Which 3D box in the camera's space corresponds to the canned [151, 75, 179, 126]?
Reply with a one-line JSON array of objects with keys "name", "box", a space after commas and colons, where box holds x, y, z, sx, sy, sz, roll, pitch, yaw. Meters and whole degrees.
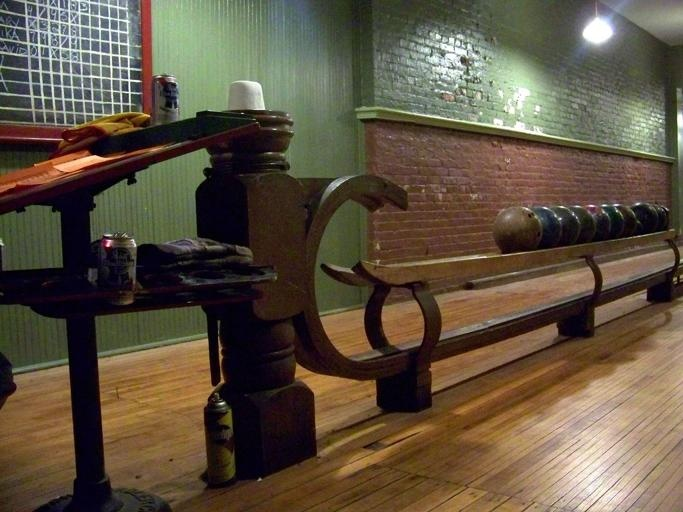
[{"name": "canned", "box": [-0.608, -0.538, 1.692, 0.091, 0.179, 0.107, -4, 6, -17]}]

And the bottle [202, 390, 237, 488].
[{"name": "bottle", "box": [-0.467, 0.689, 1.879, 0.116, 0.353, 0.143, -4, 6, -15]}]
